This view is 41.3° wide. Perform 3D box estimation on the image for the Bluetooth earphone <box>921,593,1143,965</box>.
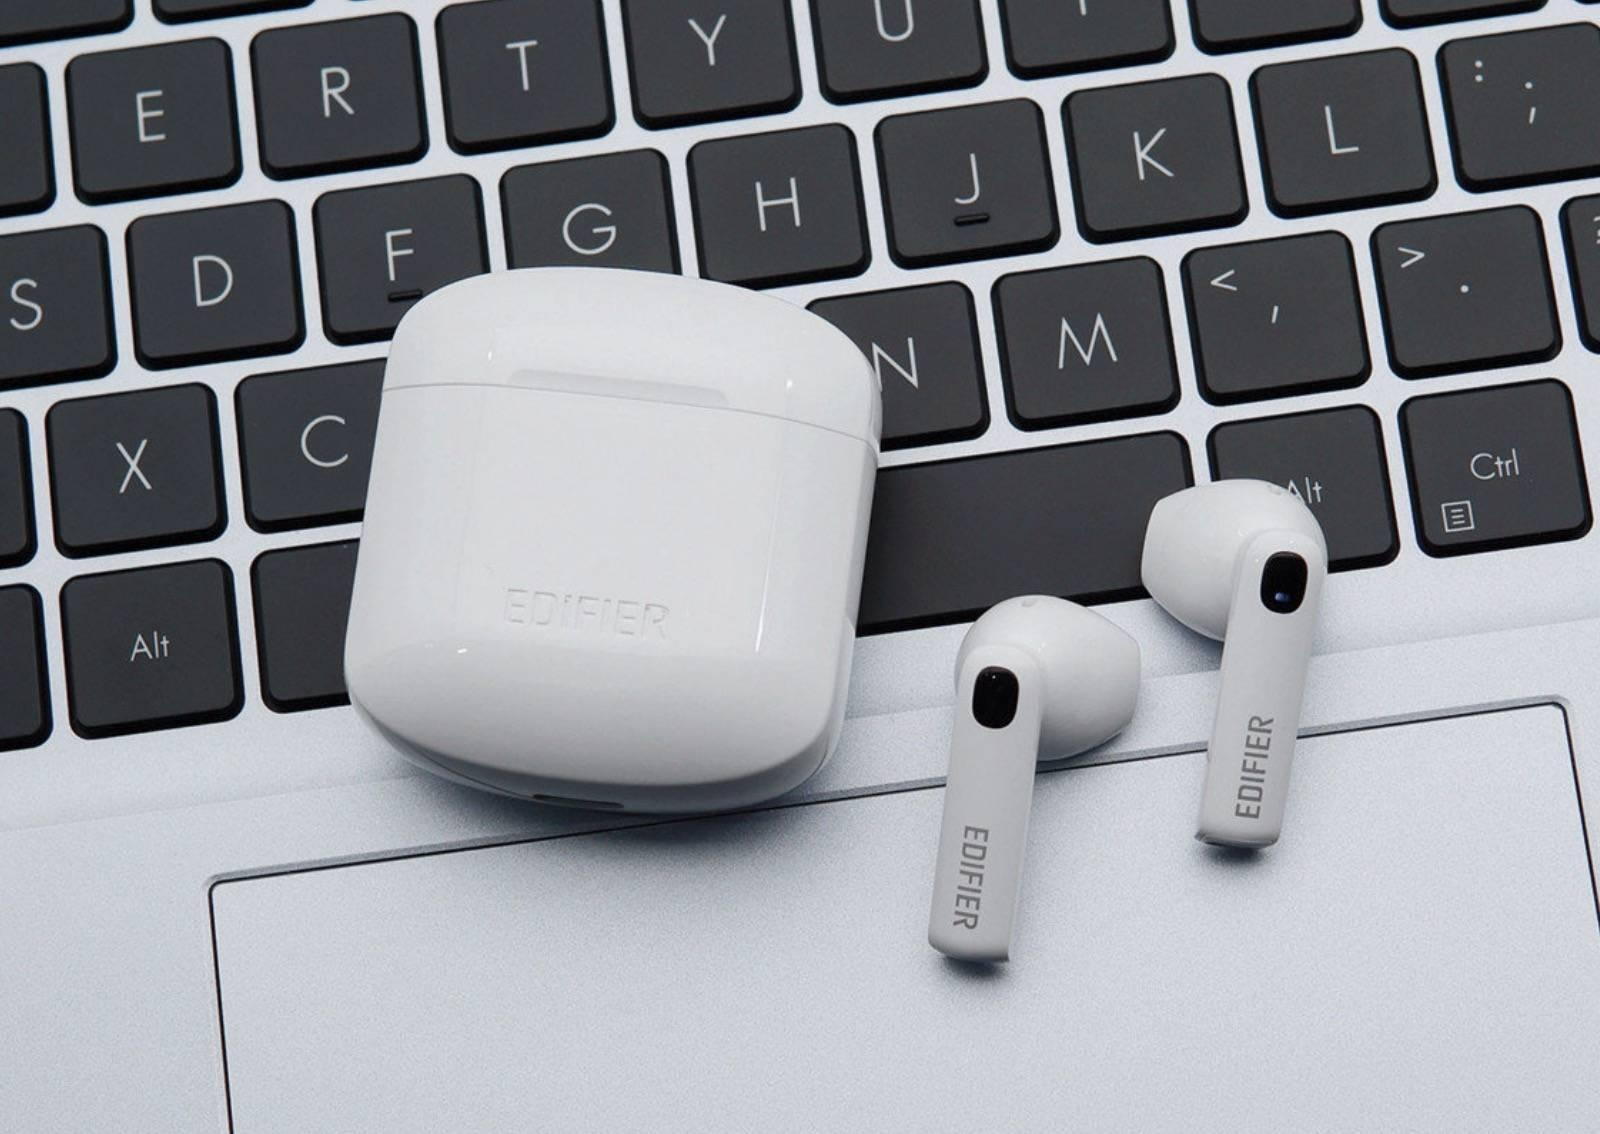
[{"bbox_3d":[0.066,0.065,0.641,0.058,0.048,0.118,7,55,30],"label":"Bluetooth earphone"}]
